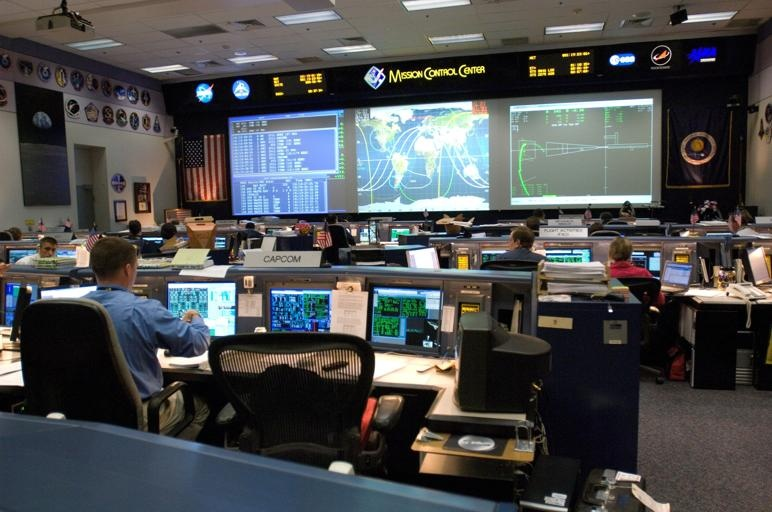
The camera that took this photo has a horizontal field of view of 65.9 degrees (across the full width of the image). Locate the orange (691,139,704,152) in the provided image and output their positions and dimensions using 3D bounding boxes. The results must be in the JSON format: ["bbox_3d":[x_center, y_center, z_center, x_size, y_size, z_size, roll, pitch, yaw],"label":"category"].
[{"bbox_3d":[5.825,-2.066,11.147,0.234,0.259,0.225,-4,6,-14],"label":"orange"}]
